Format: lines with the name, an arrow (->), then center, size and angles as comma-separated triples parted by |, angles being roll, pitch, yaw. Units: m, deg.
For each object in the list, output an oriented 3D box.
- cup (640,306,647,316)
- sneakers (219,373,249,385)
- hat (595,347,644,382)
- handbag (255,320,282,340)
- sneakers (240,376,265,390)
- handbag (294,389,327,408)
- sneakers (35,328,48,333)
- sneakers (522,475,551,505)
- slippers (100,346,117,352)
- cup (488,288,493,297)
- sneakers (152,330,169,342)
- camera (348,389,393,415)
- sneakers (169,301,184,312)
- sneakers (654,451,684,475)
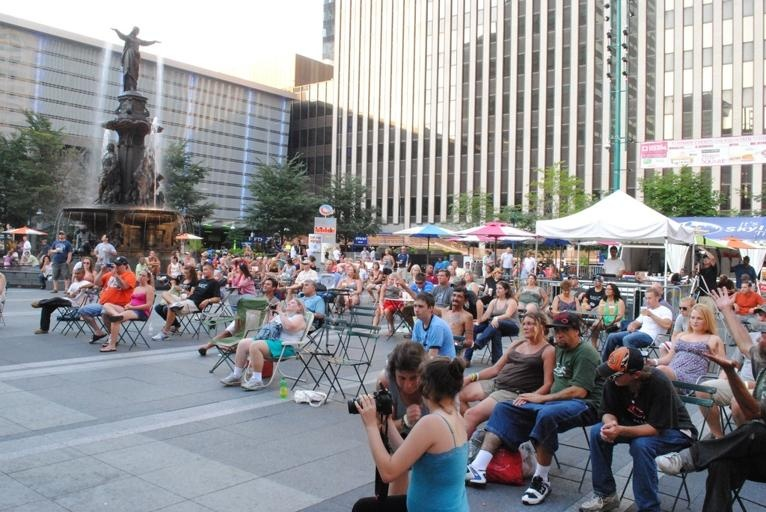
cup -> 5.504, 1.179, 13.114 | 0.205, 0.211, 0.204 | 0, -4, 0
sneakers -> -2.808, 2.349, 11.679 | 0.510, 0.218, 0.196 | 5, -3, -26
hat -> 2.941, 1.343, 7.662 | 0.518, 0.278, 0.328 | -16, 18, 17
handbag -> -2.148, 1.402, 11.784 | 0.335, 0.164, 0.400 | 3, 21, 15
sneakers -> -2.392, 2.400, 11.553 | 0.488, 0.218, 0.188 | 4, -4, -31
handbag -> -1.281, 2.520, 10.879 | 0.325, 0.136, 0.322 | 4, -2, -35
sneakers -> -8.503, 1.887, 15.391 | 0.245, 0.100, 0.105 | 5, -3, -25
sneakers -> 2.011, 3.036, 8.049 | 0.221, 0.293, 0.495 | 10, 14, 38
slippers -> -6.109, 2.095, 13.771 | 0.268, 0.104, 0.137 | 9, -10, -30
cup -> 3.011, 1.001, 17.078 | 0.144, 0.197, 0.145 | -2, 8, 0
sneakers -> -5.518, 2.014, 15.384 | 0.200, 0.197, 0.434 | -2, -12, 15
camera -> -0.128, 1.509, 6.443 | 0.333, 0.186, 0.301 | 1, -12, -11
sneakers -> -5.082, 1.267, 15.185 | 0.188, 0.213, 0.483 | 13, -3, -37
sneakers -> 3.538, 2.591, 7.632 | 0.350, 0.145, 0.199 | 19, -12, -40
